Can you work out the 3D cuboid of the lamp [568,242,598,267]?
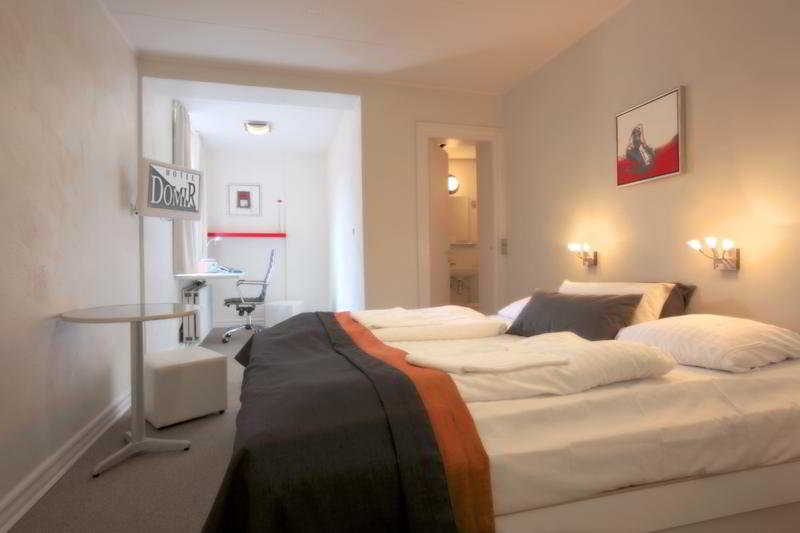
[{"bbox_3d":[1.657,-0.114,4.797,0.221,0.273,0.185,1,-4,-4],"label":"lamp"}]

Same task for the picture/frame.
[{"bbox_3d":[1.975,-1.022,4.200,0.137,0.725,0.637,-7,11,-24],"label":"picture/frame"}]

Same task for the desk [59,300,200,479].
[{"bbox_3d":[-1.768,0.823,3.826,1.036,1.129,1.019,-2,-4,29],"label":"desk"}]

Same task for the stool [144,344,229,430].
[{"bbox_3d":[-1.653,0.894,4.168,0.564,0.461,0.555,-2,3,-40],"label":"stool"}]

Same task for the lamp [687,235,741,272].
[{"bbox_3d":[2.213,-0.096,3.777,0.131,0.237,0.380,-9,12,-29],"label":"lamp"}]
